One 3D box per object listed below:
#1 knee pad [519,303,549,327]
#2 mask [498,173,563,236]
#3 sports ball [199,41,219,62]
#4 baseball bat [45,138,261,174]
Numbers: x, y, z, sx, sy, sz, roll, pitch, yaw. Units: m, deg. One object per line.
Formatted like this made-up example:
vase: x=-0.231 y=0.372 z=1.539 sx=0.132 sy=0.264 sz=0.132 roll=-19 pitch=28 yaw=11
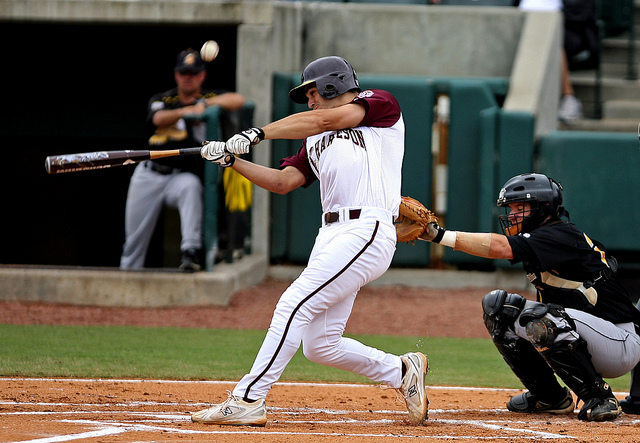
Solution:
knee pad: x=1.877 y=0.804 z=10.596 sx=0.174 sy=0.100 sz=0.239 roll=-5 pitch=38 yaw=45
mask: x=1.878 y=-0.169 z=10.895 sx=0.679 sy=0.593 sz=0.454 roll=0 pitch=18 yaw=1
sports ball: x=-1.255 y=-1.945 z=13.774 sx=0.193 sy=0.189 sz=0.244 roll=14 pitch=-45 yaw=-32
baseball bat: x=-1.598 y=-0.603 z=11.073 sx=1.748 sy=0.174 sz=0.194 roll=-6 pitch=16 yaw=-12
